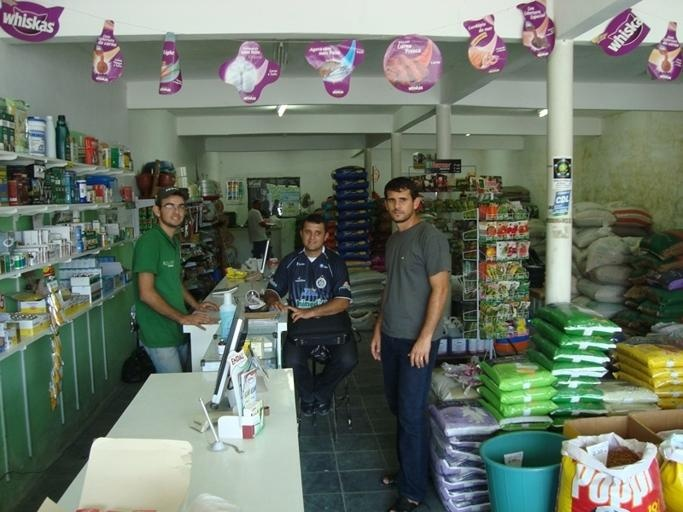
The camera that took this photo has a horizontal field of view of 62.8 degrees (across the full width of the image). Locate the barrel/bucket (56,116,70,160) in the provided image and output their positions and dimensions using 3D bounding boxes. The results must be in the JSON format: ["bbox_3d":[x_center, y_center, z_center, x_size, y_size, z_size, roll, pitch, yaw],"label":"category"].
[{"bbox_3d":[-2.392,-1.017,4.782,0.120,0.373,0.170,3,16,-15],"label":"barrel/bucket"}]

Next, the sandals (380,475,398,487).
[{"bbox_3d":[0.353,1.719,4.230,0.128,0.050,0.057,4,18,-20],"label":"sandals"}]

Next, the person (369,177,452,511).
[{"bbox_3d":[0.503,0.622,3.935,0.477,2.277,0.772,1,15,7],"label":"person"}]

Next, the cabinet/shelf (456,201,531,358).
[{"bbox_3d":[1.594,0.277,5.923,0.759,1.717,0.714,5,16,24],"label":"cabinet/shelf"}]

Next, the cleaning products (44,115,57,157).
[{"bbox_3d":[-2.384,-0.973,4.569,0.090,0.342,0.339,-8,16,-24],"label":"cleaning products"}]

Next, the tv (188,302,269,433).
[{"bbox_3d":[-0.621,0.639,3.255,0.384,0.589,0.662,3,8,-5],"label":"tv"}]

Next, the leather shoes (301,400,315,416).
[{"bbox_3d":[-0.287,1.349,4.914,0.092,0.157,0.176,3,5,-2],"label":"leather shoes"}]
